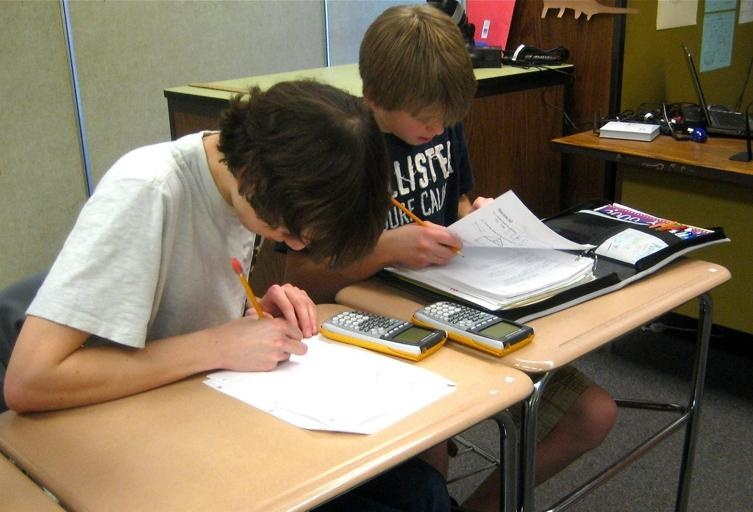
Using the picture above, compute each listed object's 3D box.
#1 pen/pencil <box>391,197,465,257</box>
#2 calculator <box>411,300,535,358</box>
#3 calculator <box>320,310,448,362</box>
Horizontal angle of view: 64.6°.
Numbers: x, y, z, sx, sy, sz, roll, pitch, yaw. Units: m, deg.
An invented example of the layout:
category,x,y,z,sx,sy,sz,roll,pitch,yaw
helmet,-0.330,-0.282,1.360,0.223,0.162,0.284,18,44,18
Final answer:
category,x,y,z,sx,sy,sz,roll,pitch,yaw
pen/pencil,0.133,-0.082,1.644,0.266,0.020,0.020,49,27,20
calculator,0.211,0.160,1.347,0.147,0.055,0.252,-12,22,-43
calculator,0.008,0.162,1.323,0.203,0.041,0.116,16,28,24
